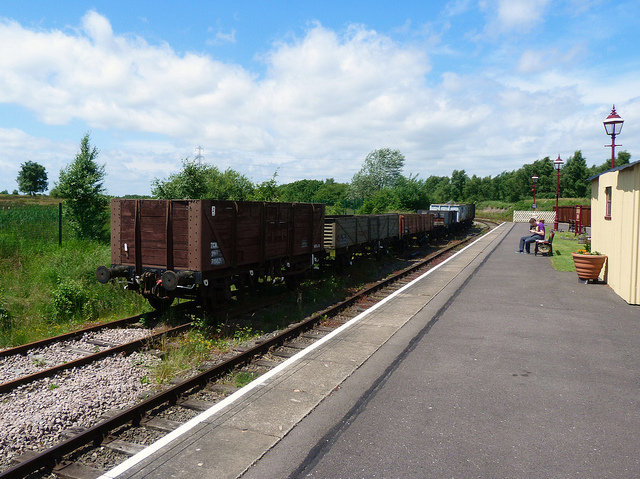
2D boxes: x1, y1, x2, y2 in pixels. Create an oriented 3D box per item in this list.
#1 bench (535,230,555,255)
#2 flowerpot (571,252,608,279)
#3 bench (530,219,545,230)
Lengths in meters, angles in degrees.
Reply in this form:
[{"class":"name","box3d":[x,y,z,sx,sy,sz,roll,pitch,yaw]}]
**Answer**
[{"class":"bench","box3d":[11.458,0.139,21.890,0.986,1.660,1.188,0,-2,25]},{"class":"flowerpot","box3d":[9.170,0.869,14.611,0.823,0.630,0.809,-2,4,-34]},{"class":"bench","box3d":[11.444,-0.819,22.612,0.983,0.239,0.568,-13,-3,-19]}]
